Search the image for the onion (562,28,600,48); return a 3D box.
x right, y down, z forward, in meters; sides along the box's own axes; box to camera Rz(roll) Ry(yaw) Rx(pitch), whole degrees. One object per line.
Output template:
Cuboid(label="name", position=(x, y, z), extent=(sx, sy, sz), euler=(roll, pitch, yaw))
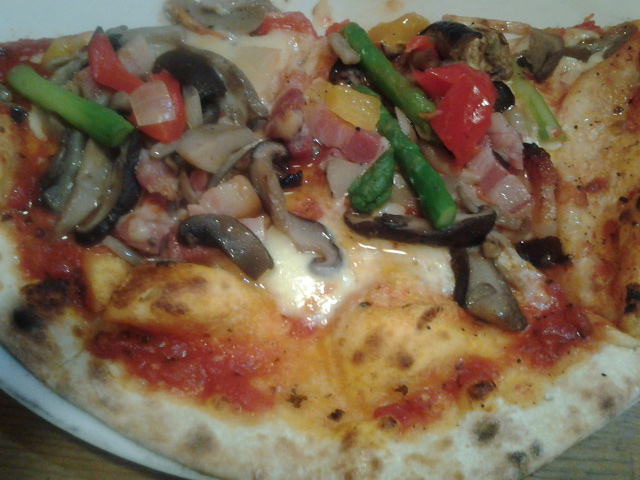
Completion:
Cuboid(label="onion", position=(2.430, -1.867, 7.723), extent=(0.265, 0.075, 0.191), euler=(9, 60, 37))
